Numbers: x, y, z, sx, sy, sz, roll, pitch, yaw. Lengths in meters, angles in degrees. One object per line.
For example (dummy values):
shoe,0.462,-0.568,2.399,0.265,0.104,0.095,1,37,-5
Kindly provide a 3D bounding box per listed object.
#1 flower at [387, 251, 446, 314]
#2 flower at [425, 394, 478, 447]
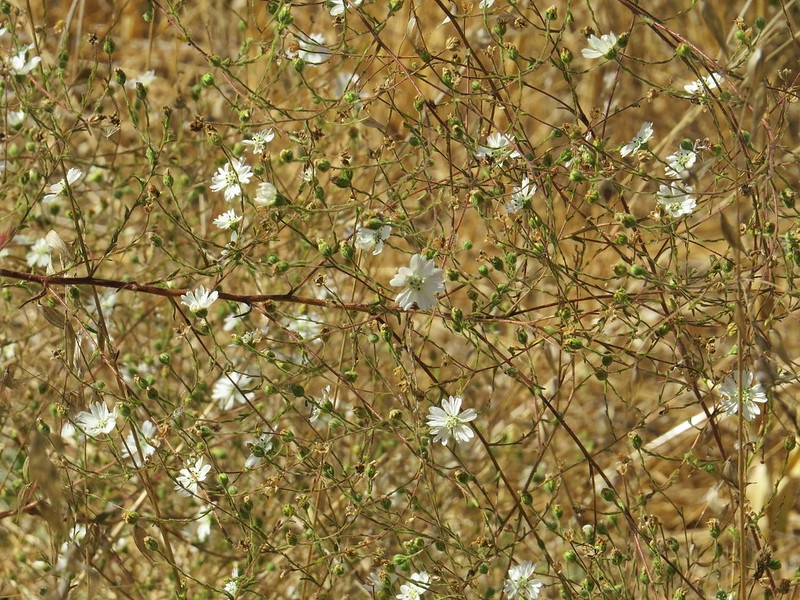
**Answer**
flower,0.042,-0.061,3.058,0.139,0.144,0.041,14,52,-44
flower,0.152,0.364,3.143,0.171,0.063,0.176,-2,4,19
